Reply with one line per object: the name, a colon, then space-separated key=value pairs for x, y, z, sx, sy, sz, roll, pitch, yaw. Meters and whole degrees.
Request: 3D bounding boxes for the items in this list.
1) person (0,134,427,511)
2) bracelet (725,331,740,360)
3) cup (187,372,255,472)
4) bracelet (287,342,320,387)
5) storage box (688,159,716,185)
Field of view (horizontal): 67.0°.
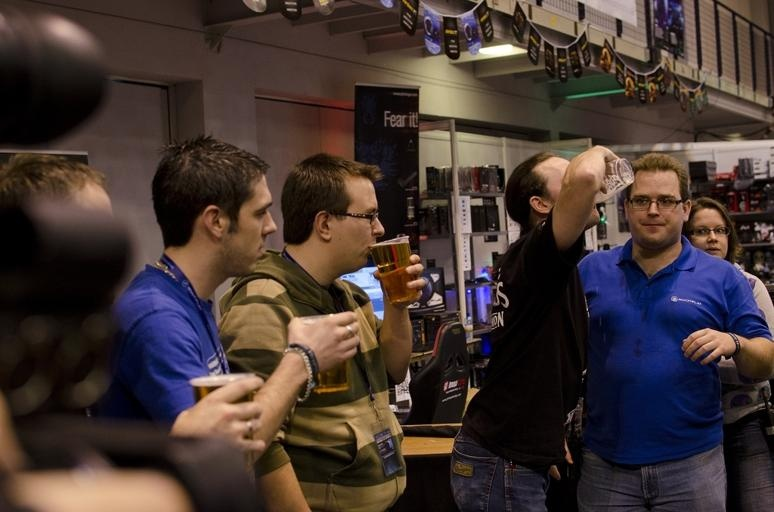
person: x=-0.379 y=0.071 z=1.515 sx=0.711 sy=1.128 sz=0.779 roll=-5 pitch=3 yaw=-20
bracelet: x=1.315 y=0.357 z=2.230 sx=0.031 sy=0.084 sz=0.072 roll=0 pitch=-7 yaw=-10
cup: x=-0.314 y=0.309 z=1.087 sx=0.137 sy=0.149 sz=0.138 roll=-1 pitch=0 yaw=0
bracelet: x=-0.194 y=0.258 z=1.377 sx=0.026 sy=0.094 sz=0.070 roll=-24 pitch=44 yaw=-33
storage box: x=4.878 y=-1.266 z=9.045 sx=0.367 sy=0.419 sz=0.632 roll=0 pitch=2 yaw=27
